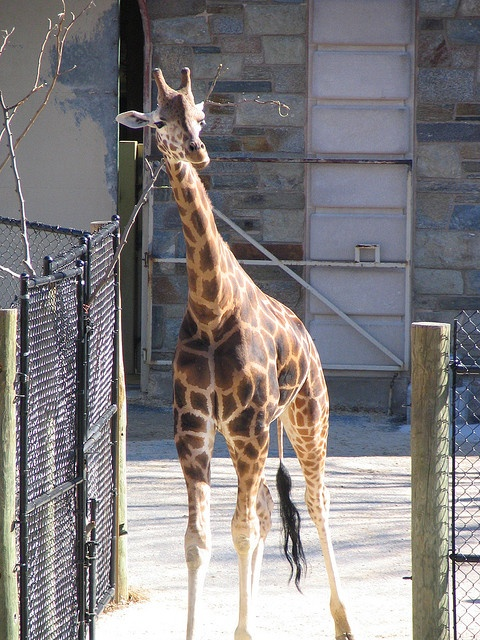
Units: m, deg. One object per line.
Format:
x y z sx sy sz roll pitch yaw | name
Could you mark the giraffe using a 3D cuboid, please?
0.027 0.236 10.765 1.066 3.211 0.679 -7 13 -35 | giraffe
